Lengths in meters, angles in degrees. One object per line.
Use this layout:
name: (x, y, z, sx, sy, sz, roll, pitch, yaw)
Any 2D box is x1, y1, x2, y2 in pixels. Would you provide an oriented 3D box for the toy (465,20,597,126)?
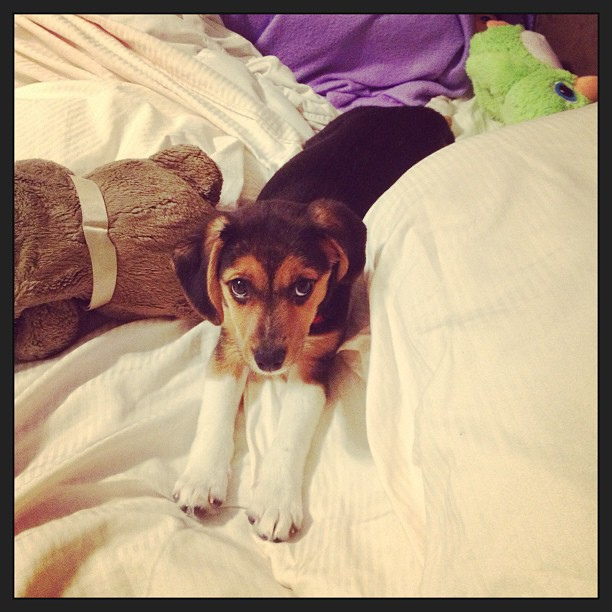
toy: (0.391, -0.475, 1.334, 0.202, 0.148, 0.314, 26, 13, 14)

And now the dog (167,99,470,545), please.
dog: (-0.001, -0.010, 1.093, 0.291, 0.280, 0.663, 17, 61, 17)
